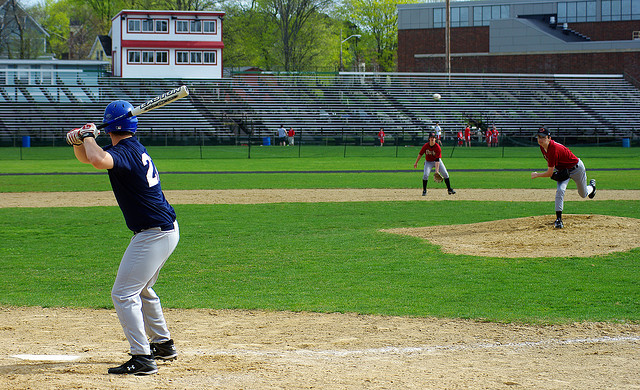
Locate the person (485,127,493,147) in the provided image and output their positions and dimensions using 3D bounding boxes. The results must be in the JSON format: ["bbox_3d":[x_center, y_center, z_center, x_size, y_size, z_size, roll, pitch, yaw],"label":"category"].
[{"bbox_3d":[16.900,-5.638,116.841,0.536,1.492,1.265,1,12,3],"label":"person"}]

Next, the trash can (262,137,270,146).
[{"bbox_3d":[-5.383,-5.393,117.421,0.776,0.630,0.698,-1,-2,-4],"label":"trash can"}]
